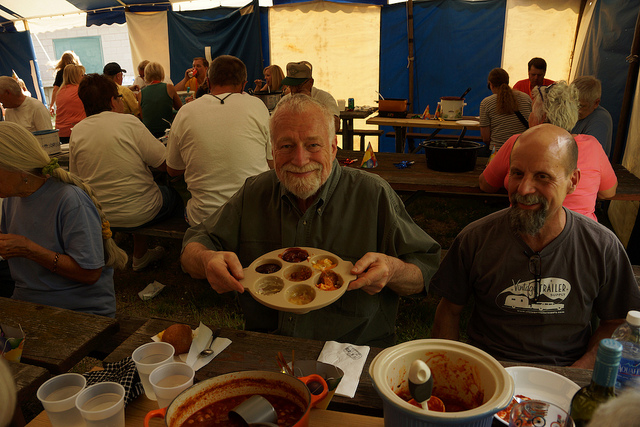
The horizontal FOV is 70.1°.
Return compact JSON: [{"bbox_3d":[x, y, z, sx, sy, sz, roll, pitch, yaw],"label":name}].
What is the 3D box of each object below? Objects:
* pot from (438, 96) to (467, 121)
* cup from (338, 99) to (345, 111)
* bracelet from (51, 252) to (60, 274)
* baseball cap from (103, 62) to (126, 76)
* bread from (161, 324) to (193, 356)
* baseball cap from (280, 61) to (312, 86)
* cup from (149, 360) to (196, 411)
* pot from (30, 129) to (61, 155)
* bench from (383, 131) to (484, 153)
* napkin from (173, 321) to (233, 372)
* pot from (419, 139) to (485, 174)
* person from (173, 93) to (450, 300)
[{"bbox_3d":[2.197,-1.721,7.608,0.386,0.300,0.389,-2,16,1],"label":"pot"},{"bbox_3d":[0.416,-2.062,8.770,0.115,0.189,0.240,-2,20,-5],"label":"cup"},{"bbox_3d":[-1.944,0.379,3.371,0.064,0.132,0.047,-13,23,-32],"label":"bracelet"},{"bbox_3d":[-3.730,-2.587,8.243,0.281,0.211,0.387,-9,22,-23],"label":"baseball cap"},{"bbox_3d":[-0.774,0.690,2.487,0.139,0.128,0.141,-5,-4,-3],"label":"bread"},{"bbox_3d":[-0.309,-1.967,6.409,0.275,0.206,0.393,18,39,33],"label":"baseball cap"},{"bbox_3d":[-0.680,0.840,2.212,0.204,0.222,0.217,-1,34,0],"label":"cup"},{"bbox_3d":[-3.231,-0.811,5.410,0.228,0.296,0.477,-7,21,-19],"label":"pot"},{"bbox_3d":[1.860,-1.153,7.354,0.967,0.246,0.421,2,28,6],"label":"bench"},{"bbox_3d":[-0.633,0.713,2.481,0.184,0.061,0.247,31,45,25],"label":"napkin"},{"bbox_3d":[1.522,-0.661,5.331,0.512,0.215,0.477,-3,19,1],"label":"pot"},{"bbox_3d":[-0.026,-0.087,2.936,1.677,1.241,0.735,4,20,11],"label":"person"}]
